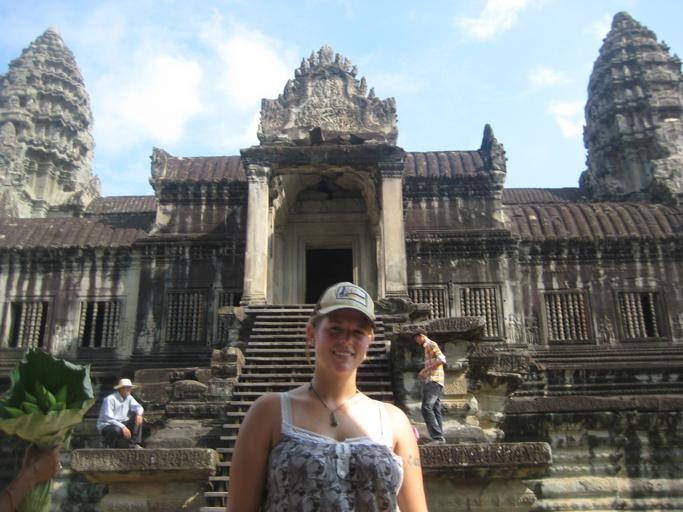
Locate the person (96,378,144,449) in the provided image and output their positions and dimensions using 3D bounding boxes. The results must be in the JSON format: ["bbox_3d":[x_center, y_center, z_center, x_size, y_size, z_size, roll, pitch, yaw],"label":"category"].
[{"bbox_3d":[-3.480,2.490,9.175,0.659,1.034,0.424,6,-18,-19],"label":"person"}]

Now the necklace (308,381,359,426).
[{"bbox_3d":[-0.059,1.019,3.913,0.349,0.299,0.078,2,2,10],"label":"necklace"}]

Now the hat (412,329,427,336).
[{"bbox_3d":[1.019,1.023,7.717,0.121,0.096,0.092,31,-26,-25],"label":"hat"}]

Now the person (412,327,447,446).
[{"bbox_3d":[1.090,1.730,7.443,0.450,1.376,0.535,6,-51,5],"label":"person"}]
